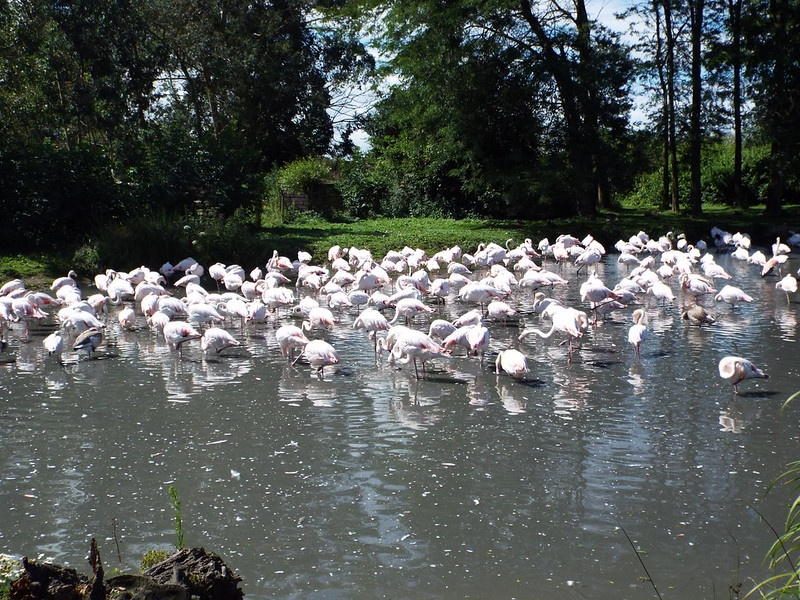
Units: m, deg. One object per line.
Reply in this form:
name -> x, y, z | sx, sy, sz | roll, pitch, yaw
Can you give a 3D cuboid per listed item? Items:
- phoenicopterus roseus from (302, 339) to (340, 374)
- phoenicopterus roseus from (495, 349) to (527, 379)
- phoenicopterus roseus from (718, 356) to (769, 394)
phoenicopterus roseus -> -1.820, 1.219, 19.635 | 0.523, 0.712, 0.928 | -10, 7, -40
phoenicopterus roseus -> 2.397, 1.361, 19.146 | 0.372, 0.566, 0.895 | -4, 4, -8
phoenicopterus roseus -> 6.981, 1.521, 18.318 | 0.820, 0.771, 0.879 | -1, 5, 22
